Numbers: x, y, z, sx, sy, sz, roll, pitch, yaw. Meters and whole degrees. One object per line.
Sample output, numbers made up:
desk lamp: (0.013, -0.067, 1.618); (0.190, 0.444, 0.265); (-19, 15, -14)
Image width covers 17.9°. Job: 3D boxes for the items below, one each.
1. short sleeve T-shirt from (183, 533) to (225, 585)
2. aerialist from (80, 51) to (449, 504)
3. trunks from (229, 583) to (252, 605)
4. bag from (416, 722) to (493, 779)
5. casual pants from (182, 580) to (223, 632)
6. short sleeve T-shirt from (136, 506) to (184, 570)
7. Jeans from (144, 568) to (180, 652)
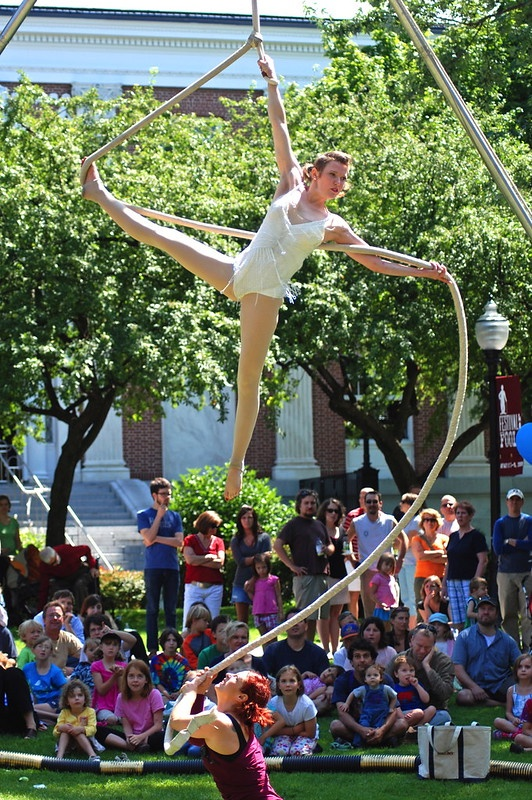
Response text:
short sleeve T-shirt: (-0.577, 1.431, 15.201); (0.369, 0.432, 0.225); (3, 3, -20)
aerialist: (-0.025, -0.796, 10.590); (2.023, 2.832, 0.522); (-1, -1, 4)
trunks: (-0.254, 1.804, 15.514); (0.282, 0.233, 0.152); (1, -13, -7)
bag: (1.344, 2.489, 12.022); (0.615, 0.400, 0.414); (1, 1, 19)
casual pants: (-0.588, 1.852, 15.261); (0.407, 0.392, 0.267); (2, 1, -14)
short sleeve T-shirt: (-0.979, 1.234, 15.205); (0.453, 0.538, 0.220); (2, 0, -23)
Jeans: (-0.955, 1.886, 15.181); (0.304, 0.828, 0.220); (4, -7, -23)
